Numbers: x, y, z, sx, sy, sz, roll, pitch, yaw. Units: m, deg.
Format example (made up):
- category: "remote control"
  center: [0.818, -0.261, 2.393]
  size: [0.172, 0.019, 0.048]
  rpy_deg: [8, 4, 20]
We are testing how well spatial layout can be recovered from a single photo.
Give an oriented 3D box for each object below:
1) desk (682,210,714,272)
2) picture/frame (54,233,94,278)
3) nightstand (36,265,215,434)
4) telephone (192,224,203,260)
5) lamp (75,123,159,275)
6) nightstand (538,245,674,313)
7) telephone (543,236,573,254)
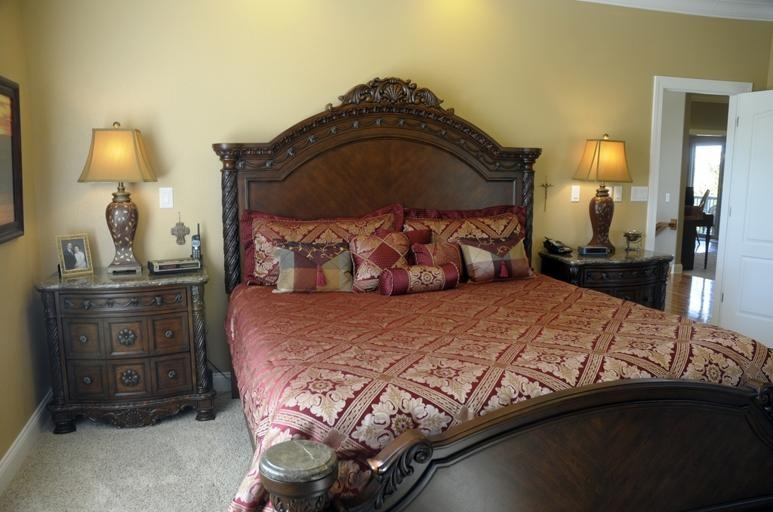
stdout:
- category: "desk"
  center: [5.059, -0.271, 8.766]
  size: [0.545, 0.906, 0.504]
  rpy_deg: [1, 2, 20]
- category: "picture/frame"
  center: [-2.338, 0.003, 3.965]
  size: [0.296, 0.374, 0.028]
  rpy_deg: [-11, -2, -37]
- category: "nightstand"
  center: [-1.908, 0.704, 4.107]
  size: [1.114, 1.055, 0.627]
  rpy_deg: [-3, 6, -12]
- category: "telephone"
  center: [-1.502, -0.106, 4.195]
  size: [0.095, 0.280, 0.250]
  rpy_deg: [-8, 9, -18]
- category: "lamp"
  center: [-1.998, -0.436, 4.016]
  size: [0.517, 1.118, 0.345]
  rpy_deg: [-9, 10, -22]
- category: "nightstand"
  center: [1.935, 0.063, 4.697]
  size: [0.840, 0.746, 0.575]
  rpy_deg: [-6, 15, -21]
- category: "telephone"
  center: [1.530, -0.077, 4.784]
  size: [0.145, 0.090, 0.199]
  rpy_deg: [3, 24, -17]
